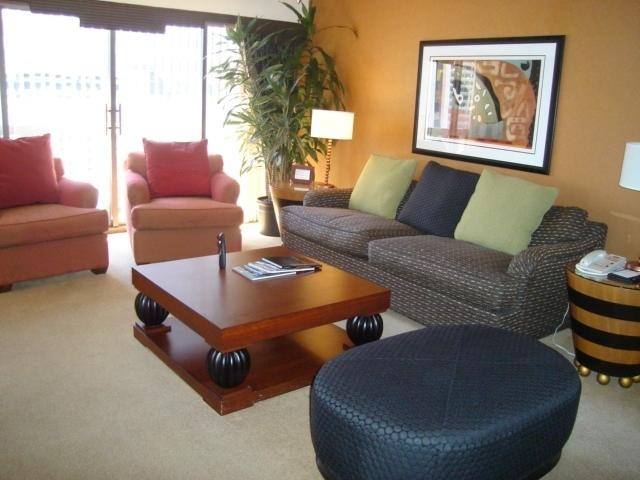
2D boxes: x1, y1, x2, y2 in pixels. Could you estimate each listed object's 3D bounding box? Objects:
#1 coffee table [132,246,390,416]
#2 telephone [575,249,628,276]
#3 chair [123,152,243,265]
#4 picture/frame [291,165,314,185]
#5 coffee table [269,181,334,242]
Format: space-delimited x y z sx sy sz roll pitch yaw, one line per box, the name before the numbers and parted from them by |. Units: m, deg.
coffee table | -0.566 0.463 3.172 1.077 0.422 1.097 -8 15 -33
telephone | 1.794 0.146 3.153 0.262 0.075 0.179 -14 19 -27
chair | -1.420 -0.356 5.058 1.168 0.940 1.081 -6 16 -34
picture/frame | -0.190 -0.708 5.444 0.201 0.172 0.075 9 16 9
coffee table | -0.215 -0.319 5.340 0.665 0.461 0.585 0 12 -6
